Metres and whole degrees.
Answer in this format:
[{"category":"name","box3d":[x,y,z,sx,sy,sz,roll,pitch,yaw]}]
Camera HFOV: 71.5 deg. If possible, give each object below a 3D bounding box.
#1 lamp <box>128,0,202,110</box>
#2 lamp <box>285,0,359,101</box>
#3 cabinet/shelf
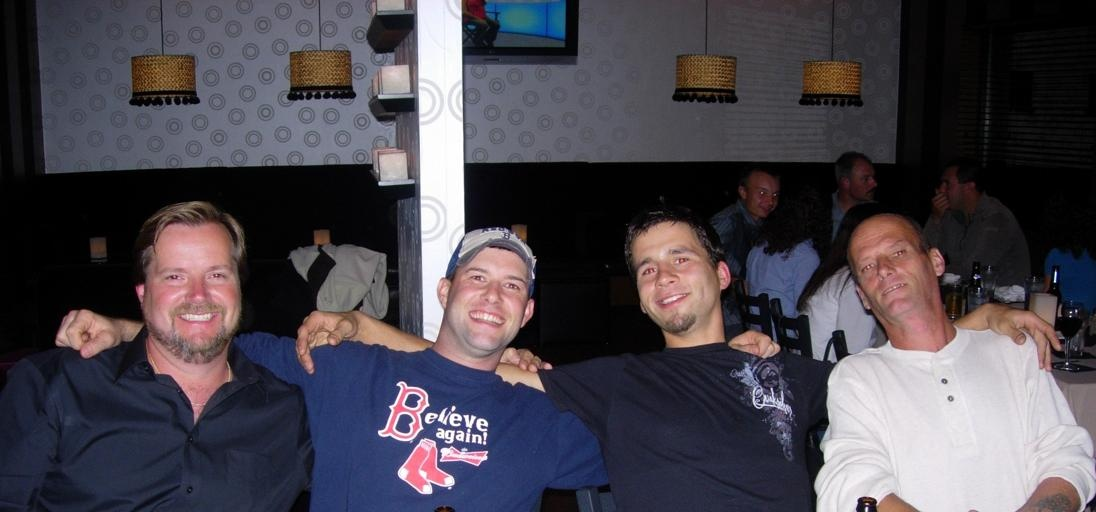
[{"category":"lamp","box3d":[-5.232,-2.868,10.504,0.821,1.655,1.682,-2,5,-24]},{"category":"lamp","box3d":[-3.016,-2.505,10.232,0.788,0.769,1.092,-1,4,-18]},{"category":"cabinet/shelf","box3d":[-1.341,-1.393,6.646,0.372,1.602,0.607,-2,6,-16]}]
